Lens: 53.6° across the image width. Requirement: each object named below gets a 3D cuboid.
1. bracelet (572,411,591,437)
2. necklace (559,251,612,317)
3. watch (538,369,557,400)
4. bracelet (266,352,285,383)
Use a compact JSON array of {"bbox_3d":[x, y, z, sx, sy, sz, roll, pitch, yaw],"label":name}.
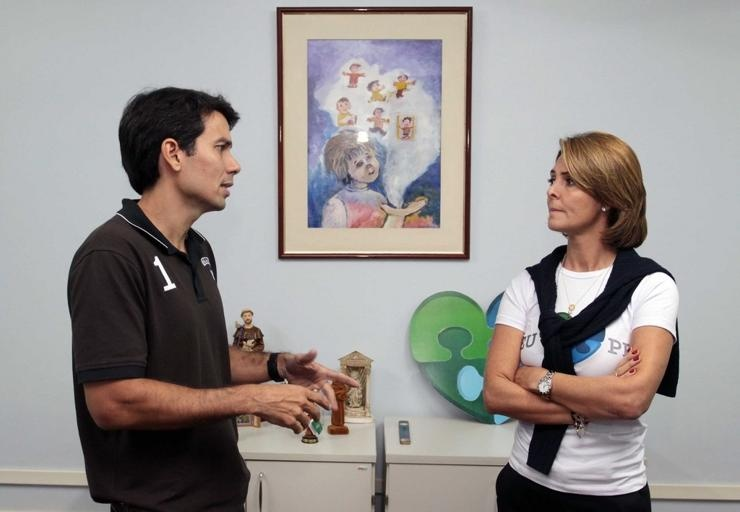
[{"bbox_3d":[0.832,0.665,2.895,0.057,0.084,0.026,1,0,21],"label":"bracelet"},{"bbox_3d":[0.854,0.124,3.006,0.166,0.243,0.060,2,-17,26],"label":"necklace"},{"bbox_3d":[0.702,0.512,2.966,0.064,0.108,0.097,17,-6,41],"label":"watch"},{"bbox_3d":[-0.404,0.462,3.051,0.067,0.104,0.101,-3,32,6],"label":"bracelet"}]
